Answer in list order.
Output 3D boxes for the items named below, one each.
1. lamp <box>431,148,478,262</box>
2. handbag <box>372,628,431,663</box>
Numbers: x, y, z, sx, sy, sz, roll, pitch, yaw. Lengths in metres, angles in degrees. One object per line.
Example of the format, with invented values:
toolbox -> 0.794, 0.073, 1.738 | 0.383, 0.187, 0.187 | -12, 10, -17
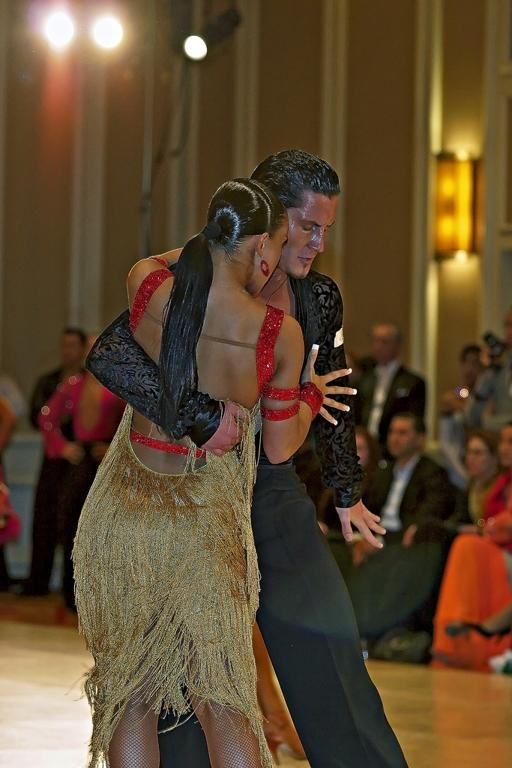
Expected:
lamp -> 0.561, -0.503, 2.274 | 0.063, 0.299, 0.181 | 7, -11, -34
handbag -> 0.580, 1.048, 3.230 | 0.269, 0.139, 0.064 | -1, 18, 42
